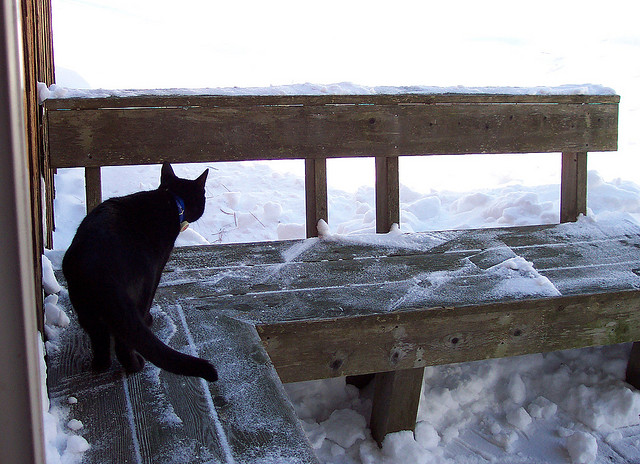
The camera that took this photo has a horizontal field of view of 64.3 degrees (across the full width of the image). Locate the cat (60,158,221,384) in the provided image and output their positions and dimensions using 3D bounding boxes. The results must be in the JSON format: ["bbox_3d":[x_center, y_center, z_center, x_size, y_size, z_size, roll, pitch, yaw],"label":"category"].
[{"bbox_3d":[-0.661,0.174,1.862,0.471,0.726,0.664,-6,15,-15],"label":"cat"}]
